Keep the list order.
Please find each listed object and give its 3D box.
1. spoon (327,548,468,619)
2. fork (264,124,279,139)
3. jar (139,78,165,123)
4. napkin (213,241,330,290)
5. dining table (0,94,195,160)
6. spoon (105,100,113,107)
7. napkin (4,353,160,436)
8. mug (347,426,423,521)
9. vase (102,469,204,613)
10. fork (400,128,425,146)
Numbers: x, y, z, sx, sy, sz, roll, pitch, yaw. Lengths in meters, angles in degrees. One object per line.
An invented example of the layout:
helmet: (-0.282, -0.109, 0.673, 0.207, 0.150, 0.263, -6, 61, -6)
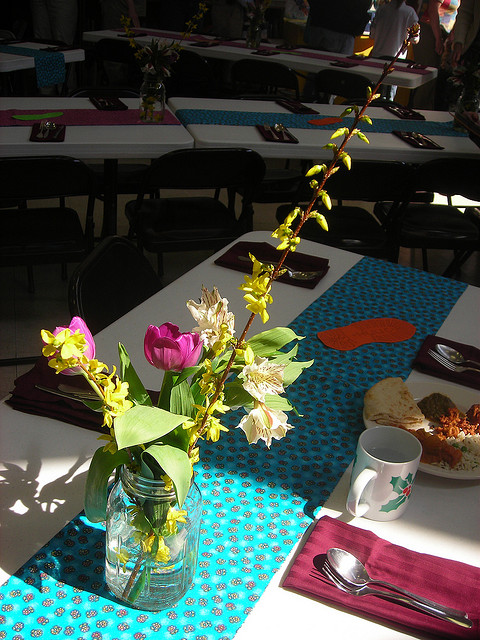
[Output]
spoon: (0.152, 0.268, 0.475, 0.140, 0.020, 0.029, 7, 22, 30)
fork: (0.150, -0.921, 2.346, 0.030, 0.025, 0.173, 6, 32, -21)
jar: (-0.438, -1.101, 2.398, 0.162, 0.206, 0.156, 5, 27, -2)
napkin: (0.092, -0.153, 1.264, 0.258, 0.028, 0.179, 14, 36, 16)
dining table: (-0.742, -0.993, 2.411, 0.858, 0.202, 0.954, -1, 33, -22)
spoon: (-0.700, -1.146, 2.560, 0.030, 0.010, 0.043, -30, 58, -10)
napkin: (-0.245, 0.134, 0.745, 0.220, 0.025, 0.164, 17, 39, 6)
mug: (0.177, 0.192, 0.587, 0.067, 0.083, 0.101, 17, 13, 13)
vase: (-0.076, 0.192, 0.444, 0.076, 0.123, 0.078, 16, 16, 36)
fork: (0.879, -0.961, 2.535, 0.042, 0.038, 0.264, -4, 35, -20)
